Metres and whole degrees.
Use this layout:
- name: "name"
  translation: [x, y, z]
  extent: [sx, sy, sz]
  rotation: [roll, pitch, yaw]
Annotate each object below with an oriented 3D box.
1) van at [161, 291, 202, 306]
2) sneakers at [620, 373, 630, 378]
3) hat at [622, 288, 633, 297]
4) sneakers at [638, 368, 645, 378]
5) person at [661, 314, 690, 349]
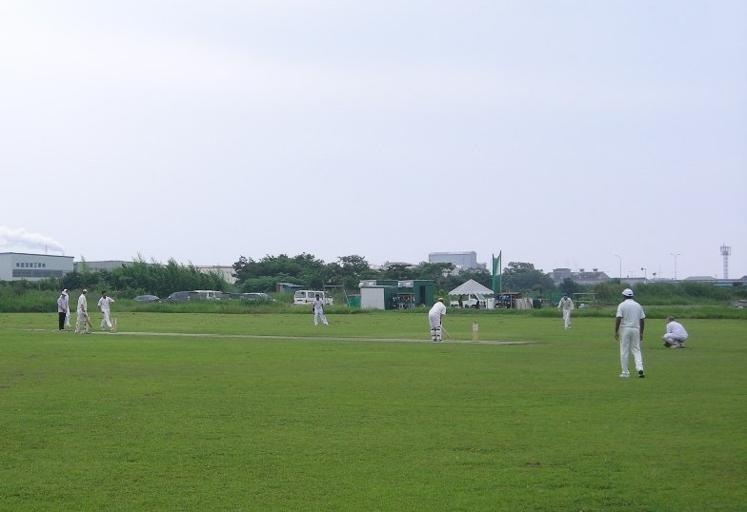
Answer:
- name: "van"
  translation: [-16.263, 3.697, 98.810]
  extent: [4.191, 1.386, 1.461]
  rotation: [3, -2, 16]
- name: "sneakers"
  translation: [6.730, 3.154, 30.265]
  extent: [0.249, 0.155, 0.096]
  rotation: [3, 0, 18]
- name: "hat"
  translation: [6.761, 0.945, 29.986]
  extent: [0.310, 0.146, 0.418]
  rotation: [0, -3, 4]
- name: "sneakers"
  translation: [7.165, 3.100, 30.198]
  extent: [0.106, 0.122, 0.295]
  rotation: [-2, -43, 9]
- name: "person"
  translation: [11.639, 2.886, 43.651]
  extent: [1.364, 1.362, 1.014]
  rotation: [-3, 2, -24]
